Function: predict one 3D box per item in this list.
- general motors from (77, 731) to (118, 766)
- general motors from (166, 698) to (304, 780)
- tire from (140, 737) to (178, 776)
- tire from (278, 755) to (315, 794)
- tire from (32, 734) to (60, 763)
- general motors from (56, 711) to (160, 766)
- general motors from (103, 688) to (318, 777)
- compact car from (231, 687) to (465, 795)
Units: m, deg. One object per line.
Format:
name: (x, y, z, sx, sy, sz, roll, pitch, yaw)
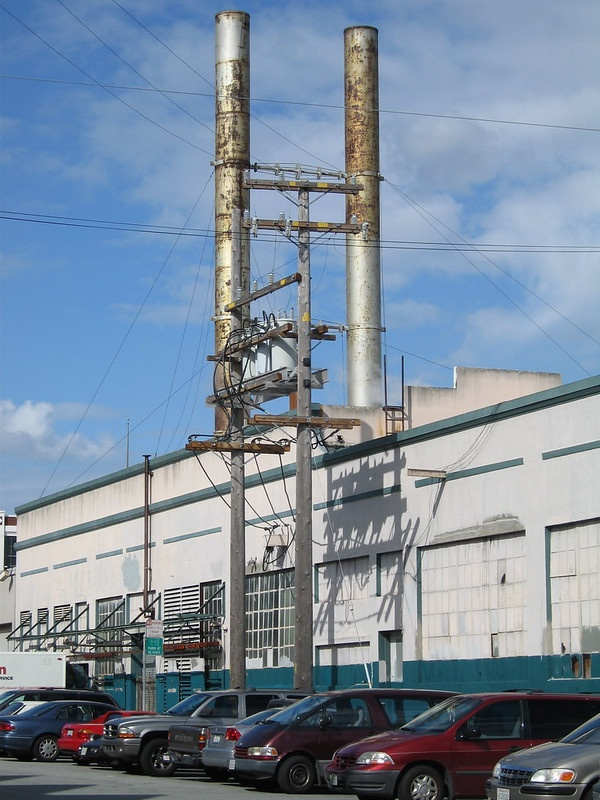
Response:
general motors: (-3.902, 6.699, 35.787, 0.605, 0.374, 1.173, -3, -18, 11)
general motors: (-1.675, 5.944, 33.197, 1.203, 1.070, 2.517, 19, 1, 30)
tire: (-2.559, 6.437, 33.903, 0.710, 0.842, 0.277, 1, -9, -9)
tire: (-0.058, 5.992, 30.072, 0.575, 0.641, 0.213, 1, 4, -4)
tire: (-5.133, 6.989, 37.717, 0.523, 0.569, 0.174, 3, -6, -34)
general motors: (-3.679, 6.830, 37.649, 2.280, 0.839, 1.072, -5, 0, -31)
general motors: (-1.504, 6.100, 33.906, 3.452, 1.415, 1.684, 4, -10, -22)
compact car: (0.599, 5.611, 30.440, 3.192, 1.483, 1.720, 0, -6, -6)
